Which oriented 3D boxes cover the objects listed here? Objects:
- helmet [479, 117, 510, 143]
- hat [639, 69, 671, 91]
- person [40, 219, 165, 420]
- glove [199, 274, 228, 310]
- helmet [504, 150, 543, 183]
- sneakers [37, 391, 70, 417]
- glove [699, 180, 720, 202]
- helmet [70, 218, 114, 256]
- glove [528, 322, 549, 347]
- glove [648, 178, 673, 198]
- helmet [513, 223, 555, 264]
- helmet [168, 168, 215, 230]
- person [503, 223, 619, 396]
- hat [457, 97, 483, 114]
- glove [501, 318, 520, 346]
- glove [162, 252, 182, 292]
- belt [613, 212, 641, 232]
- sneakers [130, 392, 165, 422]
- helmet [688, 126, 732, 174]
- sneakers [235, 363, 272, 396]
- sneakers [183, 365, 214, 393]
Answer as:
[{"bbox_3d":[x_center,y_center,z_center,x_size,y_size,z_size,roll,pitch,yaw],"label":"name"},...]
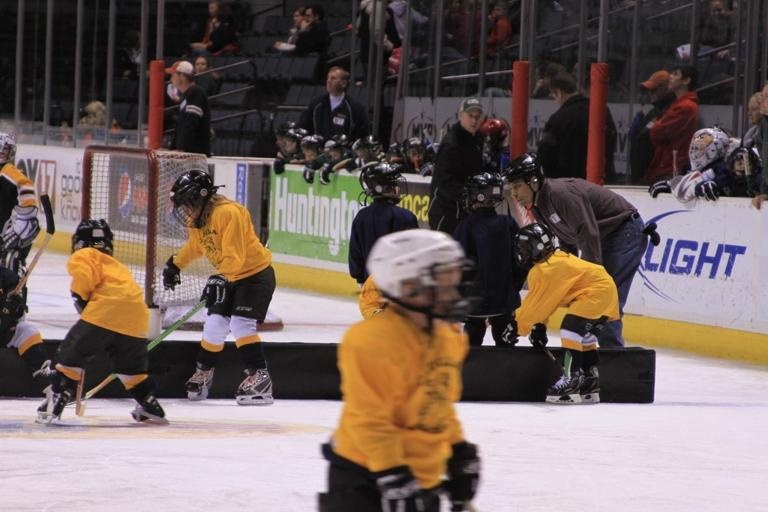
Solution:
[{"bbox_3d":[1.299,-1.500,13.708,0.353,0.228,0.292,-7,-20,3],"label":"helmet"},{"bbox_3d":[3.013,-1.954,12.861,0.163,0.224,0.337,1,3,-33],"label":"hat"},{"bbox_3d":[-2.160,0.515,9.014,0.937,1.571,0.365,2,3,-14],"label":"person"},{"bbox_3d":[-1.385,0.294,9.568,0.202,0.295,0.286,2,2,-9],"label":"glove"},{"bbox_3d":[1.201,-0.781,9.982,0.283,0.264,0.263,1,4,13],"label":"helmet"},{"bbox_3d":[-2.521,1.146,8.912,0.248,0.217,0.135,2,3,-10],"label":"sneakers"},{"bbox_3d":[3.195,-0.645,11.453,0.197,0.177,0.090,7,9,38],"label":"glove"},{"bbox_3d":[-2.264,-0.140,9.049,0.260,0.299,0.317,0,13,-17],"label":"helmet"},{"bbox_3d":[1.327,0.671,10.030,0.141,0.216,0.092,8,18,24],"label":"glove"},{"bbox_3d":[2.824,-0.698,11.929,0.191,0.080,0.181,-19,23,30],"label":"glove"},{"bbox_3d":[1.259,-0.085,9.669,0.337,0.368,0.155,2,3,-6],"label":"helmet"},{"bbox_3d":[-1.595,-0.491,9.867,0.597,0.552,0.487,0,9,-8],"label":"helmet"},{"bbox_3d":[1.521,0.496,9.770,0.897,1.514,0.368,3,3,4],"label":"person"},{"bbox_3d":[0.859,-1.486,11.435,0.208,0.142,0.182,4,3,24],"label":"hat"},{"bbox_3d":[1.114,0.692,10.339,0.108,0.159,0.239,9,-8,-14],"label":"glove"},{"bbox_3d":[-1.790,0.137,10.109,0.115,0.261,0.264,8,-41,3],"label":"glove"},{"bbox_3d":[2.172,-0.314,10.341,0.156,0.214,0.062,44,14,-41],"label":"belt"},{"bbox_3d":[-1.830,1.196,9.035,0.299,0.177,0.168,8,-5,-11],"label":"sneakers"},{"bbox_3d":[3.180,-1.070,11.542,0.459,0.387,0.421,-2,29,9],"label":"helmet"},{"bbox_3d":[-1.081,1.053,9.774,0.291,0.240,0.303,2,2,-5],"label":"sneakers"},{"bbox_3d":[-1.527,1.024,9.822,0.124,0.158,0.348,10,22,13],"label":"sneakers"}]
